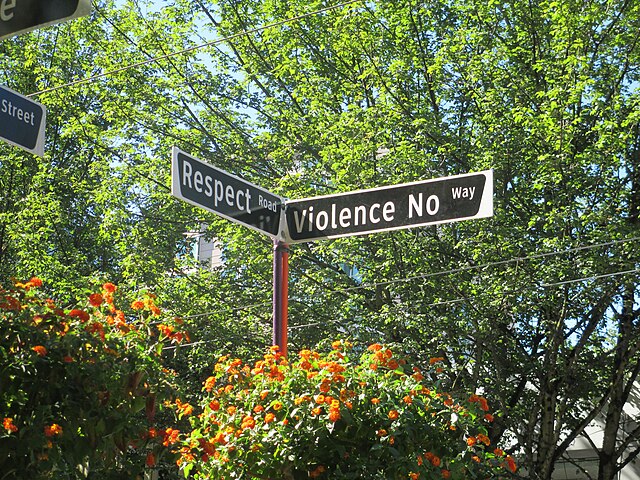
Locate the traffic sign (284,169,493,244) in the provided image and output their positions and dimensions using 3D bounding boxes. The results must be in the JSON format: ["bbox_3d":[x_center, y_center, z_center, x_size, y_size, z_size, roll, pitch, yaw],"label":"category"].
[{"bbox_3d":[0.699,-0.343,10.976,2.877,0.572,0.041,-8,-22,35],"label":"traffic sign"}]
